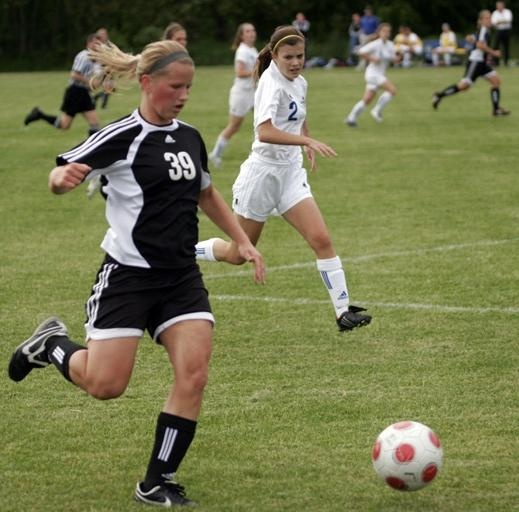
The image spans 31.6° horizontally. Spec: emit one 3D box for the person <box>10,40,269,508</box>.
[{"bbox_3d":[-0.645,0.028,4.448,0.909,2.131,0.875,6,10,-1],"label":"person"}]

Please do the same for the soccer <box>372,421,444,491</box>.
[{"bbox_3d":[0.676,0.950,4.389,0.365,0.303,0.362,-23,-23,6],"label":"soccer"}]

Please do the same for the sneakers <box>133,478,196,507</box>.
[{"bbox_3d":[-0.439,1.089,4.250,0.319,0.111,0.102,3,2,-2],"label":"sneakers"}]
